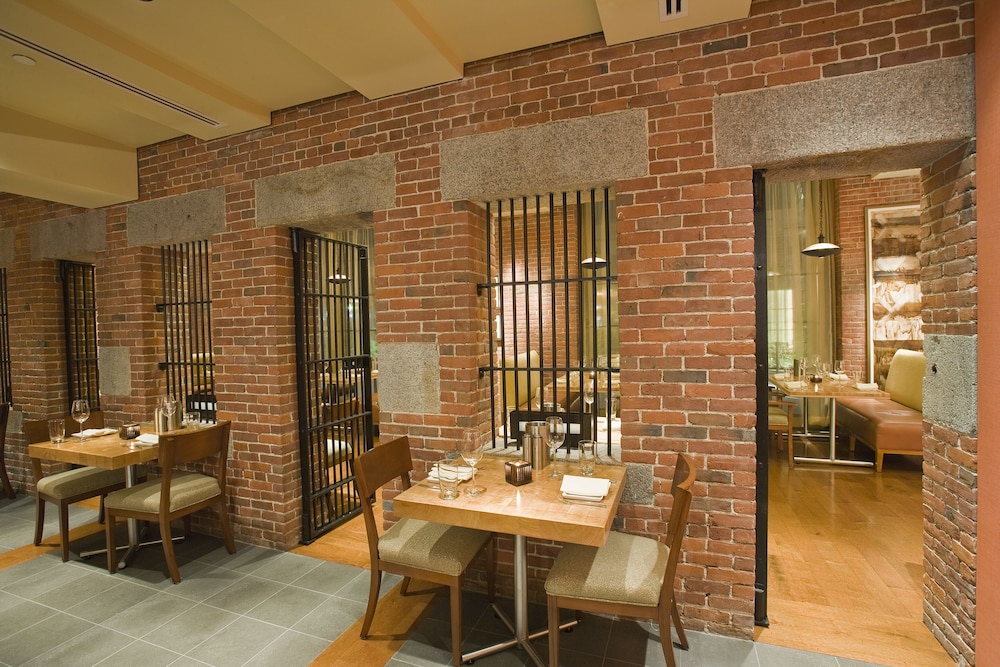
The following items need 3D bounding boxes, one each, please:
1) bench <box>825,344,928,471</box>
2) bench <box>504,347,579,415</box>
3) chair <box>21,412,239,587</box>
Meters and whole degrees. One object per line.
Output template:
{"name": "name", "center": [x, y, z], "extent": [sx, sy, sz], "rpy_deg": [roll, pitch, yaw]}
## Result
{"name": "bench", "center": [4.913, 1.013, 8.882], "extent": [0.981, 1.072, 1.854], "rpy_deg": [0, 0, 16]}
{"name": "bench", "center": [0.418, 0.576, 7.912], "extent": [0.804, 0.773, 1.342], "rpy_deg": [-1, -2, 17]}
{"name": "chair", "center": [-3.552, 1.681, 7.091], "extent": [1.589, 1.174, 0.970], "rpy_deg": [-2, -1, 17]}
